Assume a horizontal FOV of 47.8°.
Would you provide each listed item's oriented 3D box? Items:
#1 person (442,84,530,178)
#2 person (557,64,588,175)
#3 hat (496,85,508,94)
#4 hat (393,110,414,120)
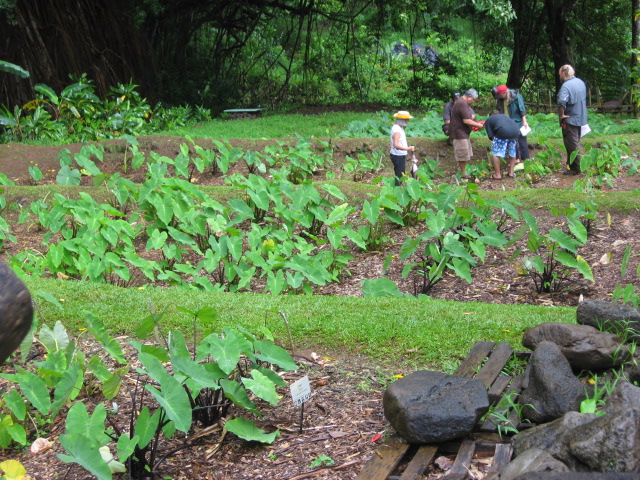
[{"bbox_3d":[2.742,-1.807,12.002,1.119,1.442,1.645,-3,15,14],"label":"person"},{"bbox_3d":[3.807,-1.784,10.953,0.406,1.697,0.835,-2,15,19],"label":"person"},{"bbox_3d":[2.911,-2.411,11.681,0.133,0.082,0.201,-1,29,5],"label":"hat"},{"bbox_3d":[1.195,-1.802,10.539,0.199,0.115,0.416,-7,15,2],"label":"hat"}]
